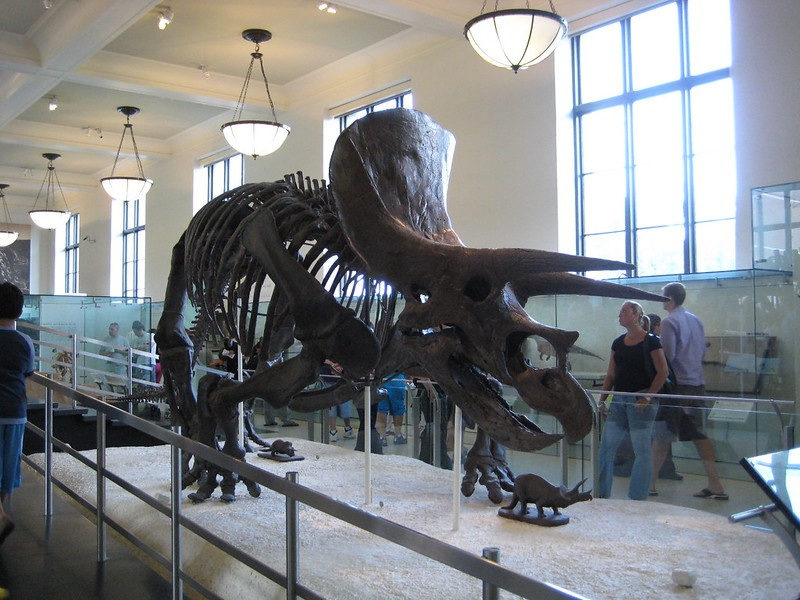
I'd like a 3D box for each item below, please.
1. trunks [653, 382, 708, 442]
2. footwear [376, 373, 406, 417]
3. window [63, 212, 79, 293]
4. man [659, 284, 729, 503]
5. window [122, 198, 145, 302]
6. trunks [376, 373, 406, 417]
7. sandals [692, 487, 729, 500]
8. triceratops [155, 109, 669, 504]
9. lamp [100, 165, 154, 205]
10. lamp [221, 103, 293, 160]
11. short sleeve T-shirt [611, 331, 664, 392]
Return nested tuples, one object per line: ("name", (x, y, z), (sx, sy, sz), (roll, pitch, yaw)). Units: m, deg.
("trunks", (2.004, 0.753, 4.628), (0.324, 0.398, 0.227), (2, 31, 26))
("footwear", (-0.088, 1.049, 7.121), (0.360, 0.440, 0.250), (1, -9, 9))
("window", (-10.085, -1.407, 20.229), (0.422, 2.399, 1.470), (-5, 4, -32))
("man", (2.393, 0.739, 5.582), (0.626, 1.755, 0.541), (2, -11, 15))
("window", (-6.855, -1.327, 16.919), (0.481, 2.403, 1.417), (-5, 4, -32))
("trunks", (-0.100, 1.053, 7.125), (0.349, 0.435, 0.246), (0, -11, 9))
("sandals", (2.099, 1.306, 4.445), (0.056, 0.045, 0.154), (1, -3, -39))
("triceratops", (-0.093, 0.045, 4.350), (3.825, 2.309, 1.610), (2, 3, 35))
("lamp", (-4.715, -1.946, 11.448), (0.788, 0.394, 0.565), (0, 4, 34))
("lamp", (-2.009, -2.154, 9.168), (0.981, 0.409, 0.946), (-1, 0, -27))
("short sleeve T-shirt", (1.944, 0.515, 5.385), (0.265, 0.458, 0.491), (3, -5, -30))
